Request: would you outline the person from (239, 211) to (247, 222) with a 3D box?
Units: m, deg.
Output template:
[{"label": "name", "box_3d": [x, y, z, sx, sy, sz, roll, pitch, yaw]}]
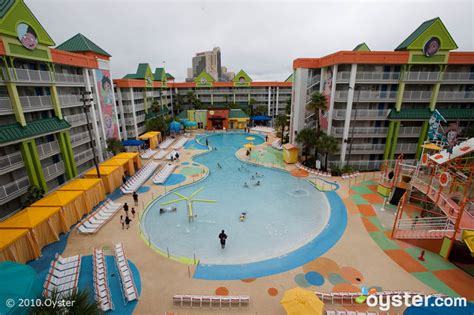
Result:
[{"label": "person", "box_3d": [0.725, 7.524, 33.811, 1.019, 0.849, 1.696, 2, 16, 1]}]

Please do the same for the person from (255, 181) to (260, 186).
[{"label": "person", "box_3d": [3.228, 4.266, 42.086, 0.538, 1.147, 0.763, 15, 40, 17]}]

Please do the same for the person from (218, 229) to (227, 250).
[{"label": "person", "box_3d": [-1.626, 9.119, 29.629, 0.788, 2.103, 1.221, 1, 16, -3]}]
